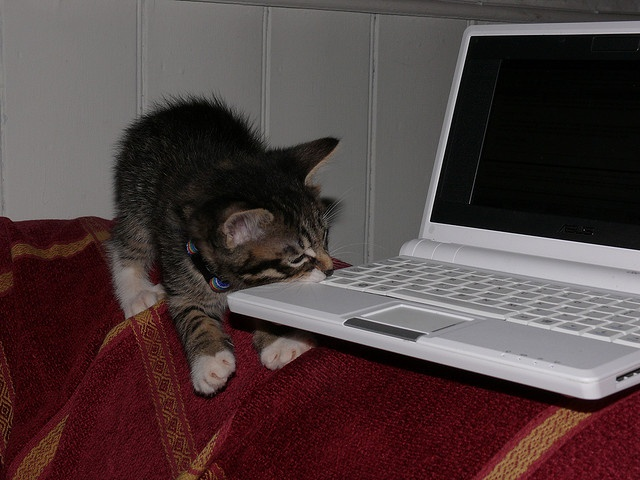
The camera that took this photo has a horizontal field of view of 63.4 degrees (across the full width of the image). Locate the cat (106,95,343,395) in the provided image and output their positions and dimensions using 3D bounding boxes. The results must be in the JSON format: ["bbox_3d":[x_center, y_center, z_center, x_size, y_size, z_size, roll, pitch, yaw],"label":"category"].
[{"bbox_3d":[-0.244,-0.080,1.294,0.375,0.552,0.824,-17,49,-27],"label":"cat"}]
